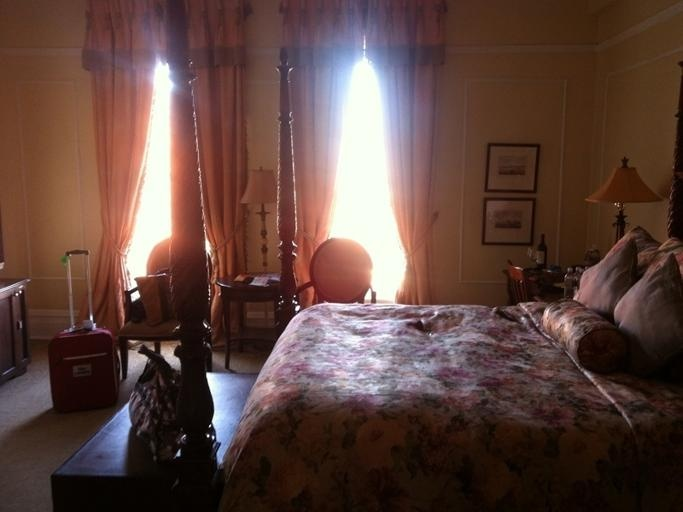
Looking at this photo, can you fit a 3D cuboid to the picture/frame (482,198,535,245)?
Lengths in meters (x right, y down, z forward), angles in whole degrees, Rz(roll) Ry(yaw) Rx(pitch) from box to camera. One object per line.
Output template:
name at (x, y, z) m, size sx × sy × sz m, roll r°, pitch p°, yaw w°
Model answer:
picture/frame at (1.797, -0.392, 5.834) m, size 0.451 × 0.460 × 0.036 m, roll 1°, pitch 3°, yaw 1°

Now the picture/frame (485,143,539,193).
picture/frame at (1.804, -0.955, 5.782) m, size 0.464 × 0.473 × 0.033 m, roll 1°, pitch 3°, yaw -3°

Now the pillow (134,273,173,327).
pillow at (-1.634, 0.378, 4.767) m, size 0.263 × 0.420 × 0.196 m, roll -6°, pitch 7°, yaw -24°

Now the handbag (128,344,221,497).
handbag at (-0.846, 0.858, 2.773) m, size 0.678 × 0.603 × 0.293 m, roll -6°, pitch -6°, yaw 44°

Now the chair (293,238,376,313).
chair at (-0.006, 0.163, 5.328) m, size 0.609 × 0.951 × 0.609 m, roll 0°, pitch 5°, yaw 3°
